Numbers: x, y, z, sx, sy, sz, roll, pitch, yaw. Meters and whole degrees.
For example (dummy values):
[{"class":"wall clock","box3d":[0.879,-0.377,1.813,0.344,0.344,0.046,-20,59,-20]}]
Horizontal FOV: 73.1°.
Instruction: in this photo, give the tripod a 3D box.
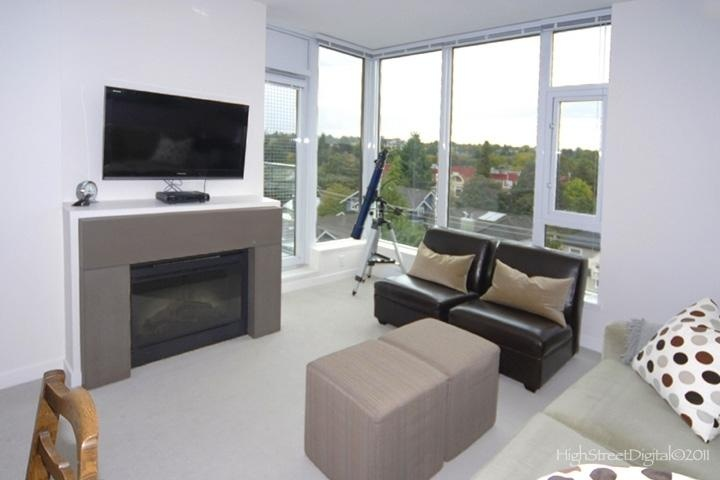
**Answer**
[{"class":"tripod","box3d":[0.249,0.039,6.385,0.613,1.272,0.796,2,14,-13]}]

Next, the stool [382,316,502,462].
[{"class":"stool","box3d":[0.539,1.084,4.189,1.039,0.798,1.332,8,10,39]}]

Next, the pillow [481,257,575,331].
[{"class":"pillow","box3d":[1.580,0.490,4.635,0.771,0.435,0.251,15,15,27]}]

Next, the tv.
[{"class":"tv","box3d":[-1.657,-0.927,4.462,1.289,0.775,0.062,-5,25,-38]}]

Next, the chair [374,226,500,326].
[{"class":"chair","box3d":[0.763,0.343,5.357,1.100,1.141,1.051,-4,8,-42]}]

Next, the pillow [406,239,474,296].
[{"class":"pillow","box3d":[0.854,0.307,5.212,0.628,0.362,0.196,17,2,30]}]

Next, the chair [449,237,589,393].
[{"class":"chair","box3d":[1.564,0.591,4.820,1.172,1.291,1.266,8,12,43]}]
